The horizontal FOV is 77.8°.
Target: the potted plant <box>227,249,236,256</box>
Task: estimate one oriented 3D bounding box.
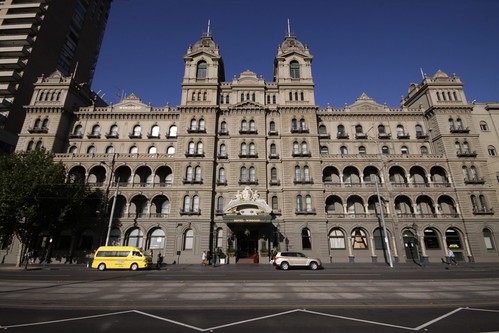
[{"bbox_3d":[-2.878,13.646,49.042,1.232,0.978,1.180,22,-43,-32],"label":"potted plant"}]

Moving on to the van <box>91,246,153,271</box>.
[{"bbox_3d":[-17.545,12.640,42.944,7.485,2.648,3.081,-1,-11,5],"label":"van"}]

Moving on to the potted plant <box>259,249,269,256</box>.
[{"bbox_3d":[2.226,13.560,48.659,1.216,0.769,1.208,-19,-28,38],"label":"potted plant"}]

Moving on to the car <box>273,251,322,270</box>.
[{"bbox_3d":[6.198,12.743,41.732,6.254,1.936,2.506,-1,-23,2],"label":"car"}]
